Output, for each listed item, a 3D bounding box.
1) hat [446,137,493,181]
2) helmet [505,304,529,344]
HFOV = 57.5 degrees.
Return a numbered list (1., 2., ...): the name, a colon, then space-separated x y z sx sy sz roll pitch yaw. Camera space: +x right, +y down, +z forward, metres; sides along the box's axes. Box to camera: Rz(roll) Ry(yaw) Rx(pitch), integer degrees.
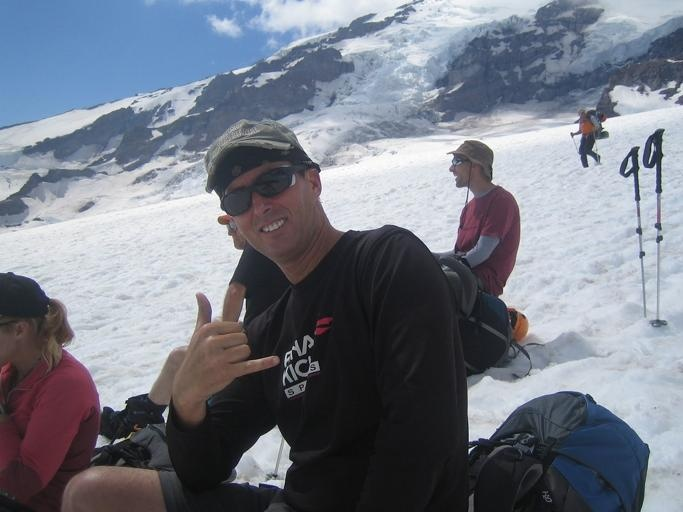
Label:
1. hat: 1.665 -1.256 7.840 0.536 0.298 0.417 25 9 -5
2. helmet: 2.013 0.768 7.339 0.218 0.291 0.285 18 67 37
